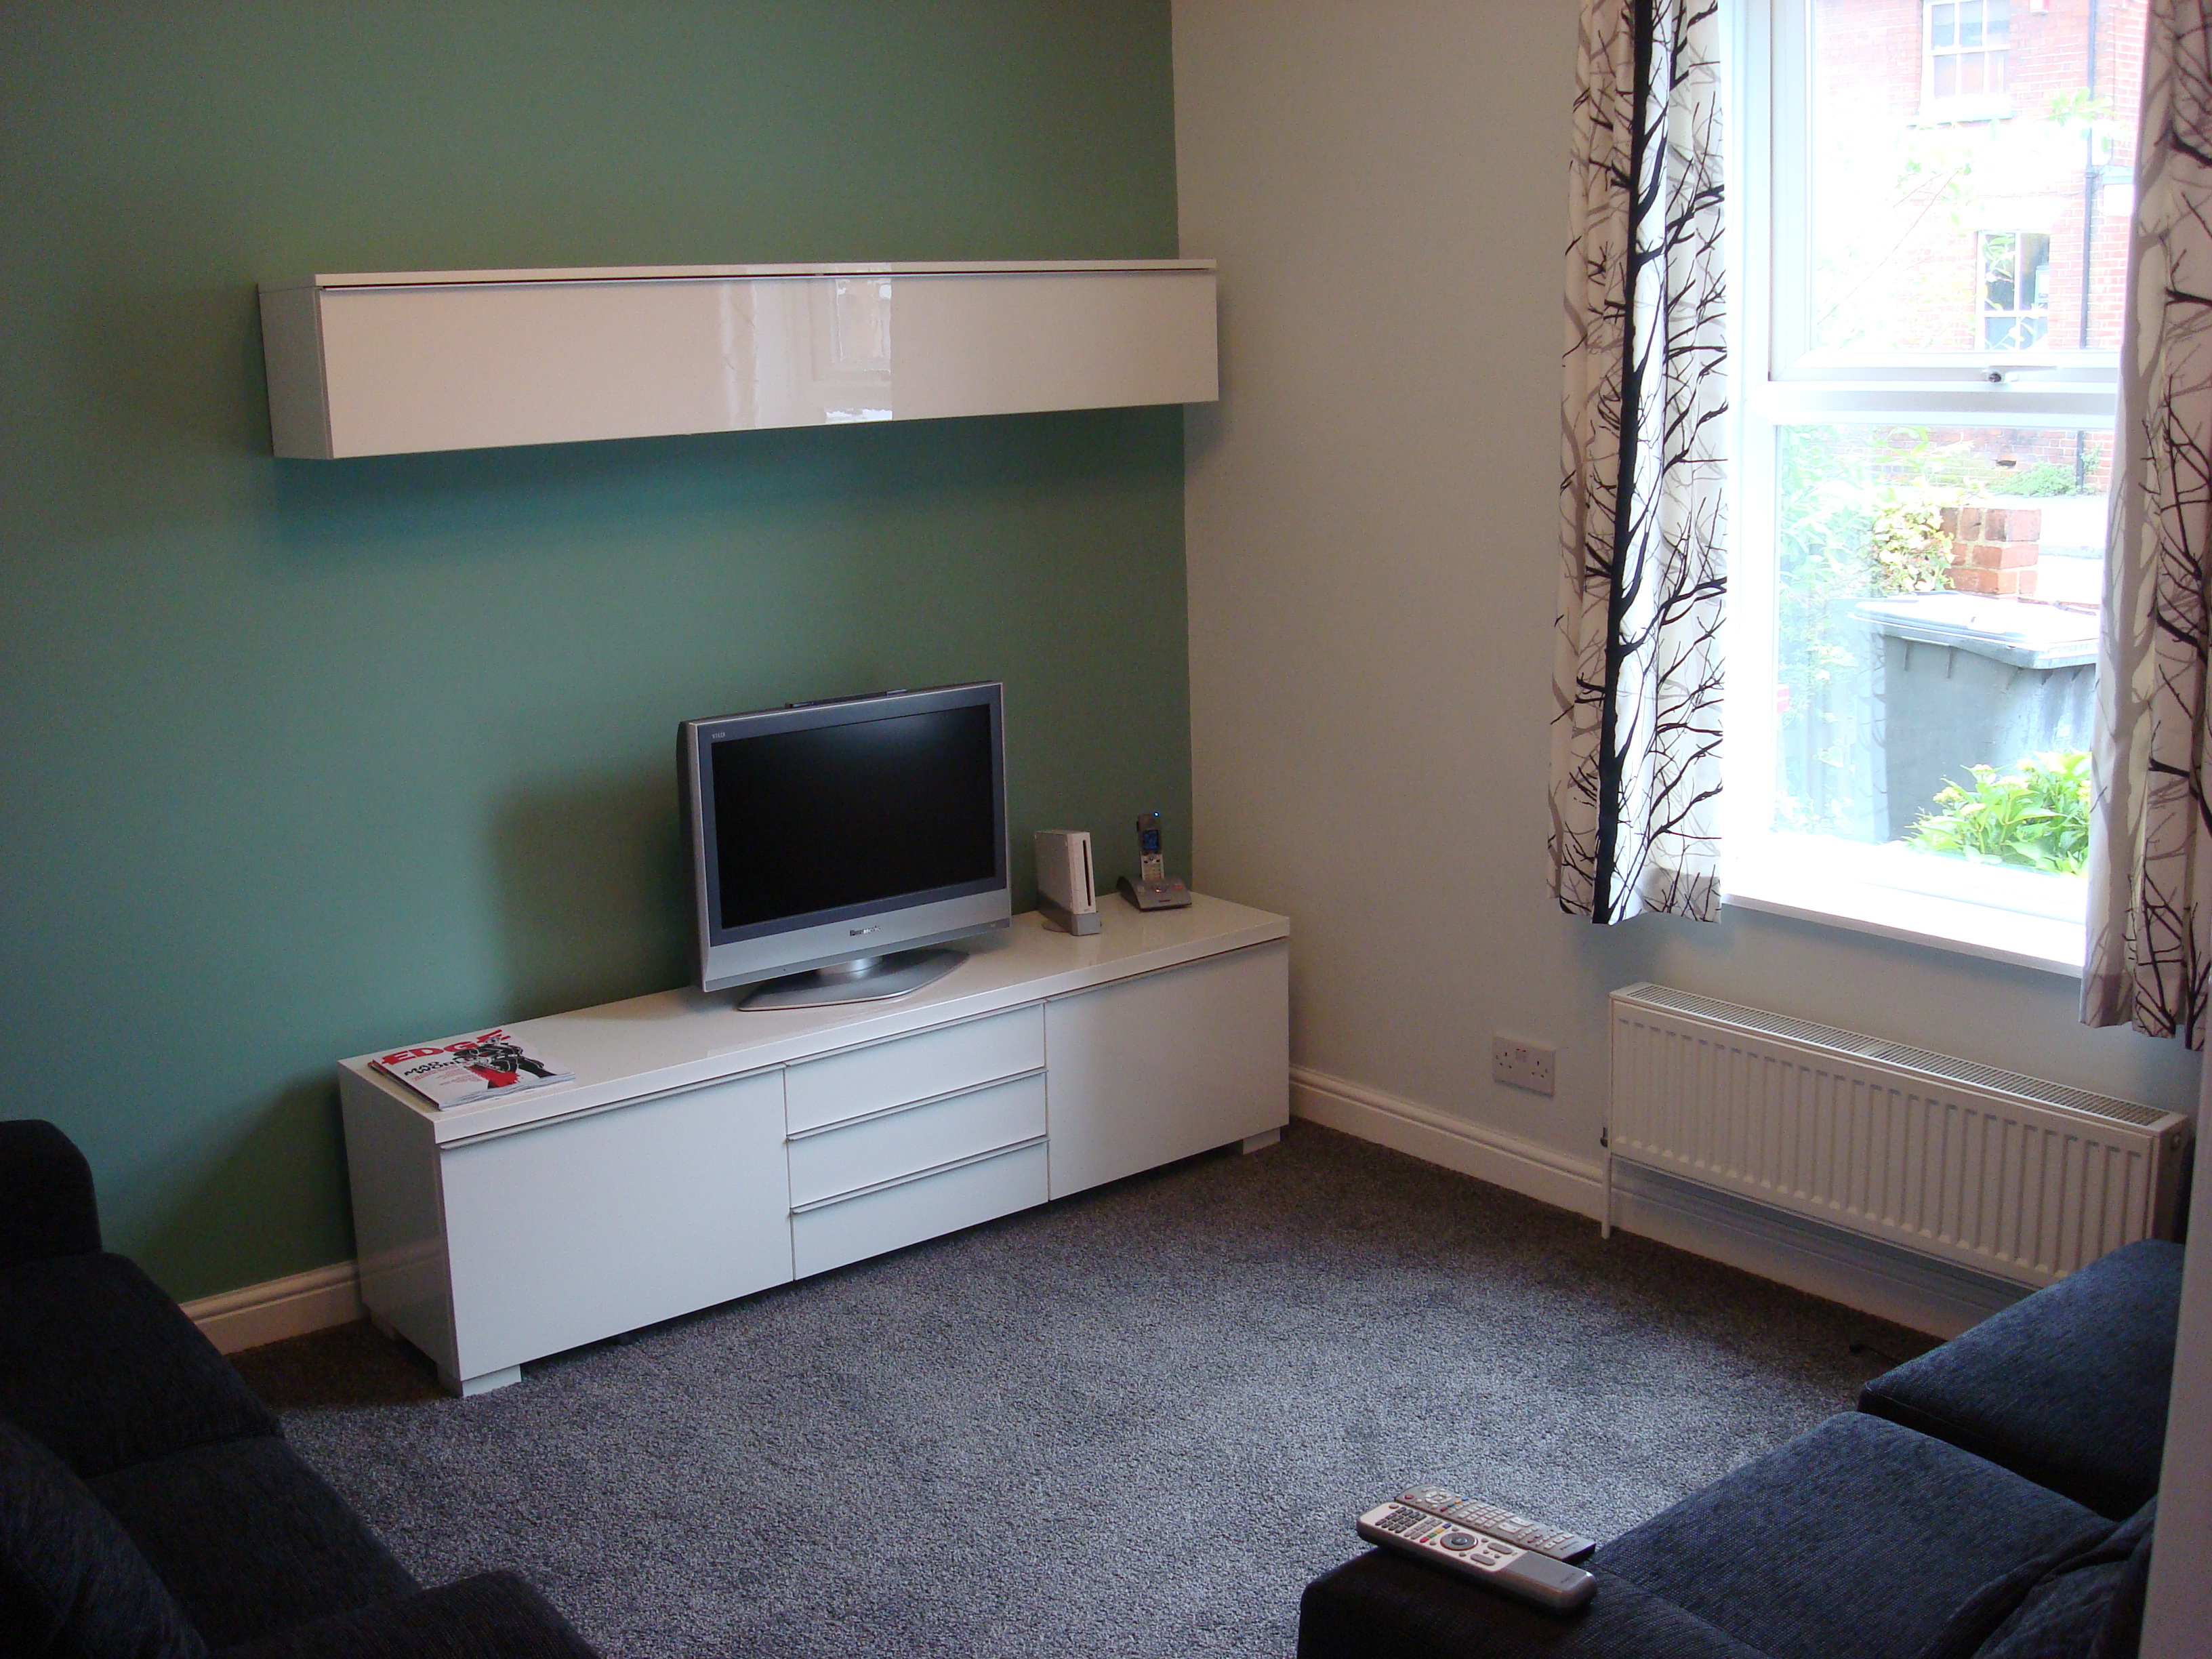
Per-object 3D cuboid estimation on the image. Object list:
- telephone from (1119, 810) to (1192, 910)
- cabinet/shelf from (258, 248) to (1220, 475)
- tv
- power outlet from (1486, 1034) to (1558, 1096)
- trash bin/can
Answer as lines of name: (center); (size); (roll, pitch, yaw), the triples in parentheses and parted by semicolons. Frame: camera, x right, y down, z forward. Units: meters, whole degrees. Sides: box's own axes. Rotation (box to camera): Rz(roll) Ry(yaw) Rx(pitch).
telephone: (0.117, 0.073, 4.647); (0.179, 0.243, 0.241); (-5, 10, -22)
cabinet/shelf: (-0.693, -1.077, 3.859); (2.030, 0.367, 0.212); (-11, 19, -25)
tv: (-0.635, 0.037, 4.024); (0.686, 0.644, 0.137); (-9, 10, -37)
power outlet: (1.020, 0.563, 4.240); (0.018, 0.106, 0.139); (-15, 22, -39)
trash bin/can: (1.782, -0.251, 3.575); (0.393, 0.618, 0.412); (-3, 8, -29)
